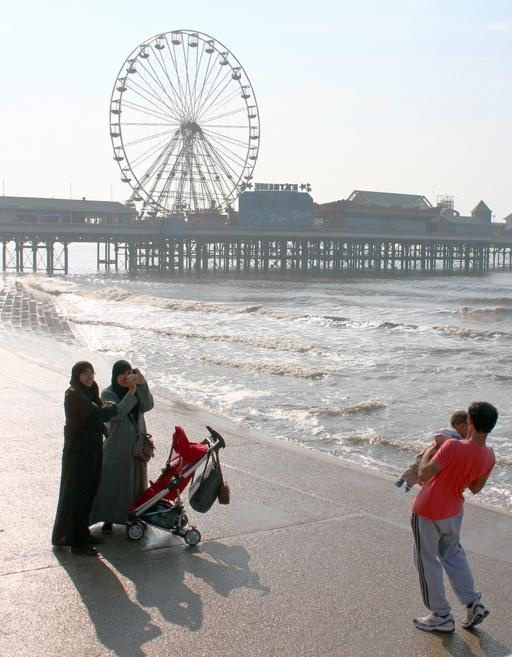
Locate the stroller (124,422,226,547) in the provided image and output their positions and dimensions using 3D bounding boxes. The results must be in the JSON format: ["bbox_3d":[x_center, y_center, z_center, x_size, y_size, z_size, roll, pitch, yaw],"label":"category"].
[{"bbox_3d":[-0.470,0.943,4.223,0.617,0.621,0.417,2,2,-13],"label":"stroller"}]

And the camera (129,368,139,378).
[{"bbox_3d":[-0.721,0.273,4.120,0.045,0.043,0.048,29,-19,-15],"label":"camera"}]

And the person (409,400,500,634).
[{"bbox_3d":[0.911,0.867,3.160,0.384,0.719,0.217,4,3,6],"label":"person"}]

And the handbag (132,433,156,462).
[{"bbox_3d":[-0.655,0.728,4.146,0.106,0.198,0.198,4,3,7],"label":"handbag"}]

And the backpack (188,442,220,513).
[{"bbox_3d":[-0.306,0.933,4.094,0.183,0.424,0.251,3,3,-17],"label":"backpack"}]

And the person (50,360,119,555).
[{"bbox_3d":[-0.966,0.736,3.906,0.285,1.073,0.210,3,4,-27],"label":"person"}]

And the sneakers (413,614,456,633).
[{"bbox_3d":[0.815,1.359,3.202,0.204,0.096,0.075,4,8,5],"label":"sneakers"}]

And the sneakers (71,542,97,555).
[{"bbox_3d":[-0.958,1.249,3.899,0.166,0.066,0.056,1,9,4],"label":"sneakers"}]
